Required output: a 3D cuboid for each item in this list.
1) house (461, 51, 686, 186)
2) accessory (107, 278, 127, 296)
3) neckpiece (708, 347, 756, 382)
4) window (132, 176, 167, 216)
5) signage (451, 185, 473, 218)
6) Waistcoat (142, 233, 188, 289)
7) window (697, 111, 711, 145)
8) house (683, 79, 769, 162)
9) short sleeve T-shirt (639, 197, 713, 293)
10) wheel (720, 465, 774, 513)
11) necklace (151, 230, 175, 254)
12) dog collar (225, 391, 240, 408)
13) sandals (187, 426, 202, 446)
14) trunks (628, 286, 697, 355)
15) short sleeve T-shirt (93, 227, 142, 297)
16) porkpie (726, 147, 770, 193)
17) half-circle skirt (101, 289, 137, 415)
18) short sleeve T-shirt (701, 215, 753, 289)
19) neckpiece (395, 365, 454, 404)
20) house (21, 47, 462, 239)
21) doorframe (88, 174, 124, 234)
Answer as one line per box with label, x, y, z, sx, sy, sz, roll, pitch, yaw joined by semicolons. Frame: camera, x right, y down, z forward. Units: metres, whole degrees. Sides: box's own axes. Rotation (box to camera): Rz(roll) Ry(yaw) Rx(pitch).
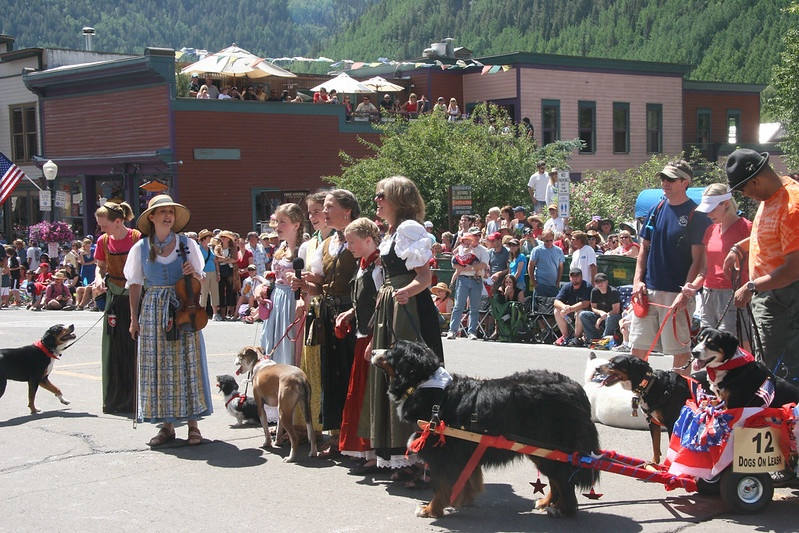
house;6.871;-6.436;49.036;5.776;3.819;5.845;-5;7;-31
accessory;-5.134;0.435;22.458;0.316;0.327;0.305;5;-17;-10
neckpiece;5.275;1.655;19.757;0.663;0.382;0.523;-36;-25;3
window;-7.729;-2.124;39.454;1.413;1.296;0.107;5;-23;-44
signage;1.677;-1.711;33.470;0.867;1.020;0.130;-8;17;-21
Waistcoat;-4.089;-0.121;21.766;1.010;1.243;0.734;-1;3;-11
window;13.181;-5.937;53.341;0.910;1.795;0.155;-4;2;-25
house;13.506;-6.643;54.138;3.730;3.893;3.837;0;0;27
short sleeve T-shirt;4.848;-0.298;21.458;1.409;1.807;0.712;8;3;39
wheel;5.513;3.619;19.603;0.659;0.715;0.243;-5;2;1
necklace;-4.093;-0.385;21.368;0.268;0.376;0.091;-2;-9;-7
dog collar;-2.990;2.467;22.159;0.258;0.259;0.209;0;-2;8
sandals;-3.557;3.045;21.563;0.271;0.320;0.215;0;3;-11
trunks;4.594;1.003;21.566;1.237;1.289;0.710;0;-10;43
short sleeve T-shirt;-5.033;-0.029;22.235;1.124;1.443;0.497;-3;2;16
porkpie;5.729;-1.696;20.289;0.283;0.726;0.599;40;-31;-11
half-circle skirt;-5.104;1.645;22.500;0.613;2.320;0.281;1;2;-3
short sleeve T-shirt;5.722;-0.179;21.528;0.644;1.228;1.154;-3;6;-40
neckpiece;0.482;1.959;19.756;0.572;0.181;0.584;-34;-1;21
house;-6.389;-4.256;41.612;7.138;4.728;7.088;-5;6;-43
doorframe;-9.708;-2.022;41.076;1.063;2.103;1.126;-2;-1;41
